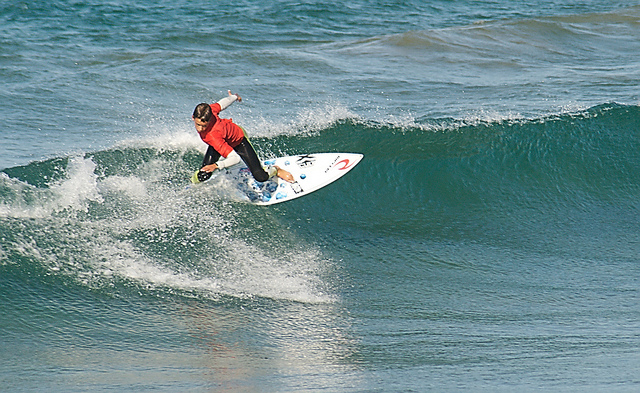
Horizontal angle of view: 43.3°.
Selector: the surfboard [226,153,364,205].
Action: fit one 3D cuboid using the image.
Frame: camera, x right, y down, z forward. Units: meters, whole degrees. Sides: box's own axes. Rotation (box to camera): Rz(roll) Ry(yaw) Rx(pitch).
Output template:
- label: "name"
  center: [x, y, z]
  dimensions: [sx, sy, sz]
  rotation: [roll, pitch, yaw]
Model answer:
- label: "surfboard"
  center: [-0.663, -0.512, 21.691]
  dimensions: [4.940, 0.691, 0.855]
  rotation: [-8, 85, -17]
